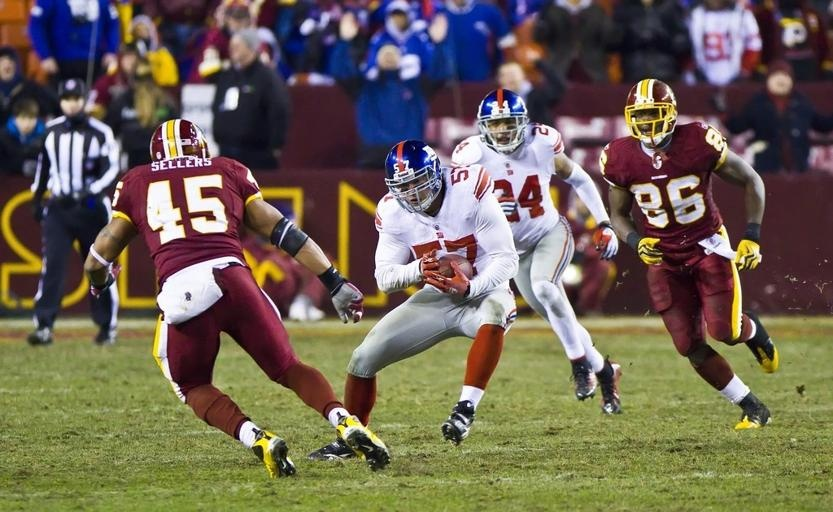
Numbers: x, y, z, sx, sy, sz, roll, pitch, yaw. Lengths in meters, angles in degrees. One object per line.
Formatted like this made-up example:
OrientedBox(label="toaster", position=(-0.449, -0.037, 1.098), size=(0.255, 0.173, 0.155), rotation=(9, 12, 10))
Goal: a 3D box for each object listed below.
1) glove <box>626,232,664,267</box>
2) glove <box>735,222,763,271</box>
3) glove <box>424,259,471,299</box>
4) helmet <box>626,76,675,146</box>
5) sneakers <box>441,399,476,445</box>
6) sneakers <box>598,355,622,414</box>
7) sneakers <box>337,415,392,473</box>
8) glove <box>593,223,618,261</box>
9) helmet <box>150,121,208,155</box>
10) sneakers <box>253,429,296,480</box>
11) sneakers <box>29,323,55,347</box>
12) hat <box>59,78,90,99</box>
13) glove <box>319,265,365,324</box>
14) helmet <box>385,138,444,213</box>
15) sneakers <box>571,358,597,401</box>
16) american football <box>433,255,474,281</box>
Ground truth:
OrientedBox(label="glove", position=(2.088, -0.093, 9.864), size=(0.130, 0.222, 0.306), rotation=(-32, 55, -18))
OrientedBox(label="glove", position=(2.976, -0.082, 9.718), size=(0.223, 0.475, 0.164), rotation=(-2, -28, 15))
OrientedBox(label="glove", position=(0.220, 0.132, 9.201), size=(0.381, 0.283, 0.526), rotation=(15, 19, 4))
OrientedBox(label="helmet", position=(2.158, -1.349, 9.923), size=(0.437, 0.556, 0.607), rotation=(-1, 19, 32))
OrientedBox(label="sneakers", position=(0.367, 1.334, 9.122), size=(0.221, 0.295, 0.613), rotation=(13, 5, 18))
OrientedBox(label="sneakers", position=(1.843, 1.182, 10.173), size=(0.176, 0.549, 0.282), rotation=(-2, -8, 23))
OrientedBox(label="sneakers", position=(-0.428, 1.473, 8.756), size=(0.243, 0.631, 0.276), rotation=(-47, 0, -4))
OrientedBox(label="glove", position=(1.719, -0.152, 10.208), size=(0.261, 0.339, 0.103), rotation=(12, -12, -23))
OrientedBox(label="helmet", position=(-1.987, -0.949, 9.063), size=(0.379, 0.309, 0.288), rotation=(-17, 28, -7))
OrientedBox(label="sneakers", position=(-1.108, 1.607, 8.737), size=(0.240, 0.532, 0.195), rotation=(0, 48, 16))
OrientedBox(label="sneakers", position=(-4.455, 0.884, 12.742), size=(0.408, 0.286, 0.142), rotation=(5, 40, -10))
OrientedBox(label="hat", position=(-4.032, -1.939, 12.680), size=(0.262, 0.191, 0.342), rotation=(-7, 12, -35))
OrientedBox(label="glove", position=(-0.573, 0.261, 9.031), size=(0.350, 0.459, 0.157), rotation=(-14, 27, 45))
OrientedBox(label="helmet", position=(-0.055, -0.700, 9.339), size=(0.478, 0.561, 0.681), rotation=(-10, 13, 6))
OrientedBox(label="sneakers", position=(1.515, 1.131, 10.035), size=(0.164, 0.200, 0.464), rotation=(-24, 38, 22))
OrientedBox(label="american football", position=(0.322, 0.087, 9.193), size=(0.243, 0.182, 0.192), rotation=(-15, 61, -15))
